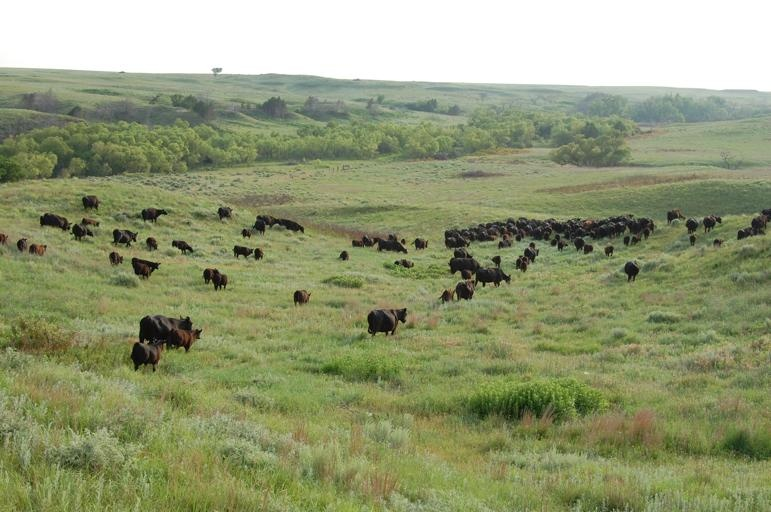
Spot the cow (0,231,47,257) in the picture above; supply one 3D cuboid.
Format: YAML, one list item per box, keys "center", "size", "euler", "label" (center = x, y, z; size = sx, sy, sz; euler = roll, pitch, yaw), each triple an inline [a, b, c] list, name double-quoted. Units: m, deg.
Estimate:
- center: [-32.002, -0.927, 74.108]
  size: [2.885, 1.486, 0.839]
  euler: [19, 28, -29]
  label: "cow"

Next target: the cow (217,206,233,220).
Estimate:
- center: [-17.927, -4.698, 94.383]
  size: [1.043, 1.678, 2.306]
  euler: [4, -1, 12]
  label: "cow"

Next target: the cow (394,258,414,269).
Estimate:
- center: [2.012, 0.879, 88.917]
  size: [2.010, 1.007, 1.557]
  euler: [4, -1, 0]
  label: "cow"

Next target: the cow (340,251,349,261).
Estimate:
- center: [-4.397, 0.076, 90.637]
  size: [0.985, 1.035, 1.572]
  euler: [4, -1, -4]
  label: "cow"

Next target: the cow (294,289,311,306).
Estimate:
- center: [-7.320, 3.783, 74.652]
  size: [1.608, 1.364, 1.263]
  euler: [5, -1, -31]
  label: "cow"
